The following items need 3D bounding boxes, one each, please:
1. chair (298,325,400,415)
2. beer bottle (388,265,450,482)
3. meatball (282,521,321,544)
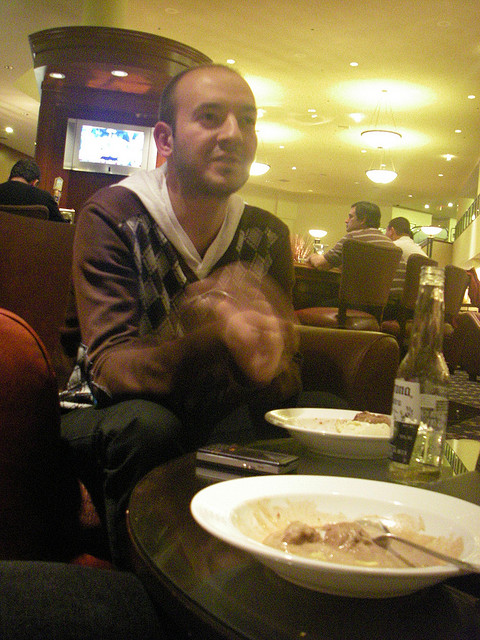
[{"bbox_3d":[0.251,0.077,1.320,0.256,0.238,0.256,18,-4,4],"label":"chair"},{"bbox_3d":[0.221,0.063,0.605,0.076,0.248,0.070,4,1,0],"label":"beer bottle"},{"bbox_3d":[0.044,0.154,0.342,0.017,0.007,0.019,4,-1,-15],"label":"meatball"}]
